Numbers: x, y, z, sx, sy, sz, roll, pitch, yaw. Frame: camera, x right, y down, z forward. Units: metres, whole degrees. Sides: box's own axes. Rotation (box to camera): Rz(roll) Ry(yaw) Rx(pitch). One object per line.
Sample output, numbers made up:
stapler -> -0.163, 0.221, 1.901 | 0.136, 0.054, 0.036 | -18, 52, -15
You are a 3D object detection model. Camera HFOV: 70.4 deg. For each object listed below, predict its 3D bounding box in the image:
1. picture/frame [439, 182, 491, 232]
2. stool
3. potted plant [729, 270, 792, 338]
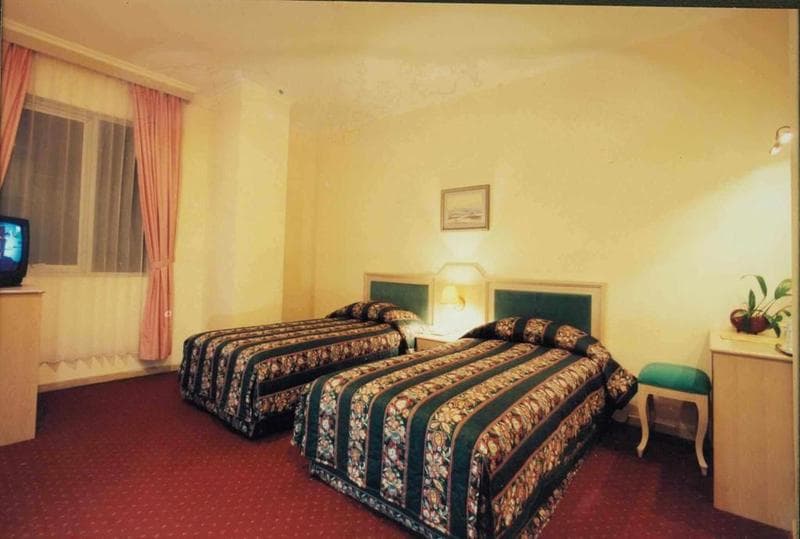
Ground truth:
picture/frame -> 0.577, -0.551, 4.880 | 0.383, 0.339, 0.029 | 3, 7, 31
stool -> 1.820, 0.960, 3.928 | 0.586, 0.813, 0.604 | 1, -1, 28
potted plant -> 2.353, 0.191, 3.800 | 0.420, 0.436, 0.436 | 2, 4, 29
